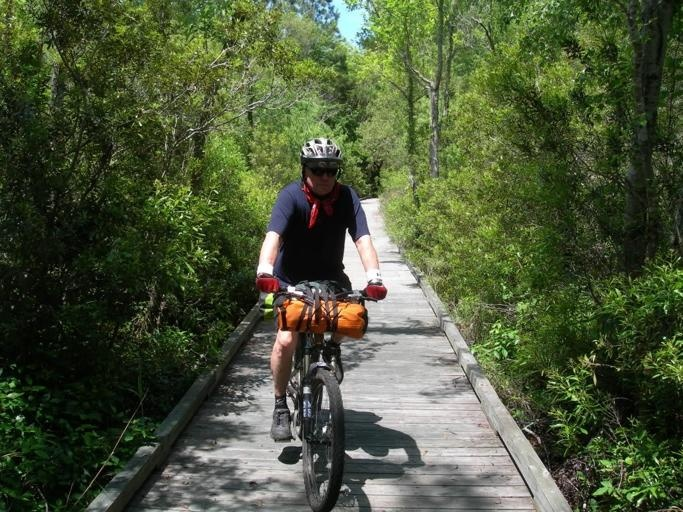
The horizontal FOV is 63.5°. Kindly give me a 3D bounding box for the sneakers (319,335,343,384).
[{"bbox_3d":[-0.077,0.795,4.344,0.183,0.250,0.374,-4,-7,-9],"label":"sneakers"}]

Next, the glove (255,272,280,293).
[{"bbox_3d":[-0.542,0.207,4.053,0.168,0.177,0.247,-1,8,-9],"label":"glove"}]

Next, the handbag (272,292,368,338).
[{"bbox_3d":[-0.153,0.464,4.044,0.498,0.213,0.340,8,-10,-6],"label":"handbag"}]

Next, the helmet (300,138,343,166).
[{"bbox_3d":[-0.171,-0.824,4.343,0.318,0.224,0.241,0,8,-4],"label":"helmet"}]

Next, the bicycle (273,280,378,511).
[{"bbox_3d":[-0.020,0.979,4.081,0.640,1.046,1.695,2,1,-7],"label":"bicycle"}]
